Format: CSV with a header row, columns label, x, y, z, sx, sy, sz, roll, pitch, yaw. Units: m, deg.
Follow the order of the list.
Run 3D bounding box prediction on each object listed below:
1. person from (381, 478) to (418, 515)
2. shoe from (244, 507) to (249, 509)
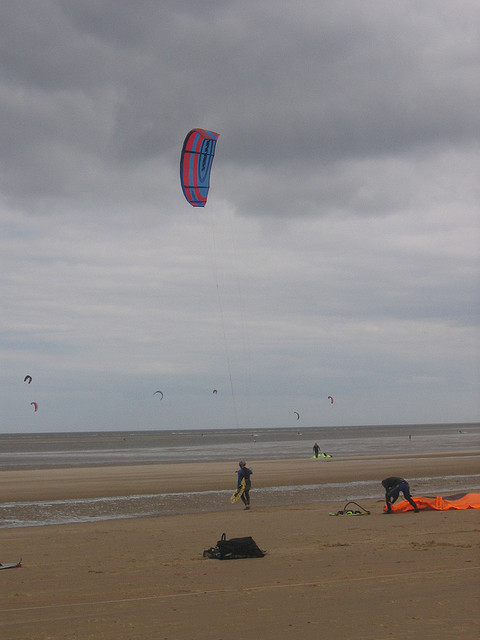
label,x,y,z,sx,sy,sz,roll,pitch,yaw
person,3.581,3.865,17.437,0.685,0.728,1.230,-5,-2,11
shoe,0.183,4.679,19.442,0.090,0.053,0.163,-4,-2,-6
